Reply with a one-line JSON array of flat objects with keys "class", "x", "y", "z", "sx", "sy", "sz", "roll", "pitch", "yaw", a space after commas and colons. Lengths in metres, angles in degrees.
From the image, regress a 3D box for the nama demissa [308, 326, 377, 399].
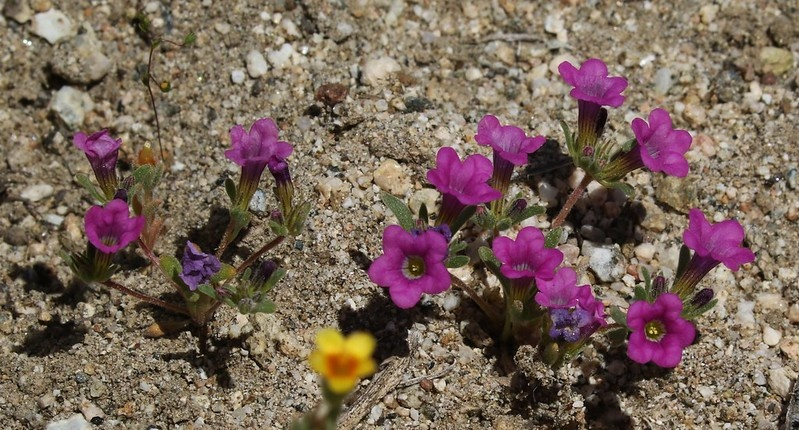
[{"class": "nama demissa", "x": -0.489, "y": 1.283, "z": 6.957, "sx": 0.529, "sy": 0.215, "sz": 0.545, "roll": 4, "pitch": 64, "yaw": -9}]
